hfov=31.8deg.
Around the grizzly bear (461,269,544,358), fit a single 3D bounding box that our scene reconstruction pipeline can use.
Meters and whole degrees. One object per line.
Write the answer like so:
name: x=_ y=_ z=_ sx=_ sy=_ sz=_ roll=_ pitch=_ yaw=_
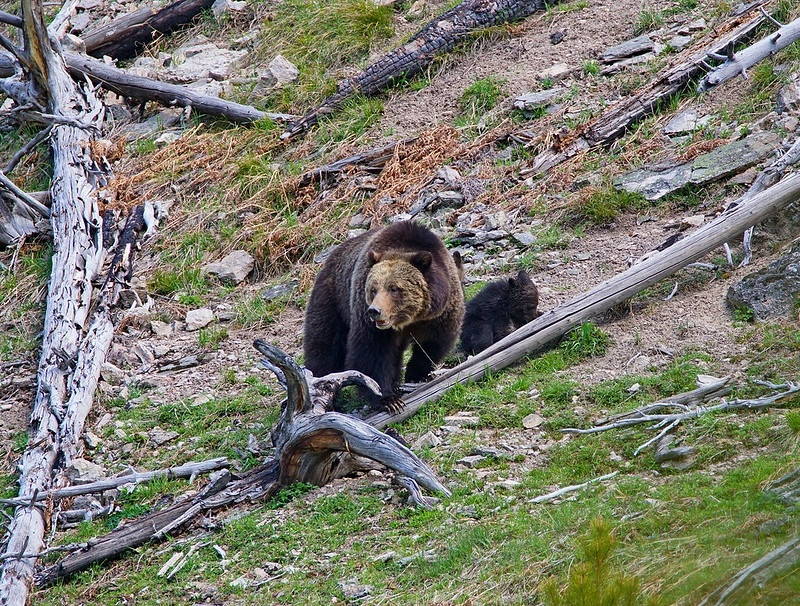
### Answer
grizzly bear: x=1.231 y=0.109 z=16.816 sx=1.080 sy=0.857 sz=0.724 roll=3 pitch=15 yaw=25
